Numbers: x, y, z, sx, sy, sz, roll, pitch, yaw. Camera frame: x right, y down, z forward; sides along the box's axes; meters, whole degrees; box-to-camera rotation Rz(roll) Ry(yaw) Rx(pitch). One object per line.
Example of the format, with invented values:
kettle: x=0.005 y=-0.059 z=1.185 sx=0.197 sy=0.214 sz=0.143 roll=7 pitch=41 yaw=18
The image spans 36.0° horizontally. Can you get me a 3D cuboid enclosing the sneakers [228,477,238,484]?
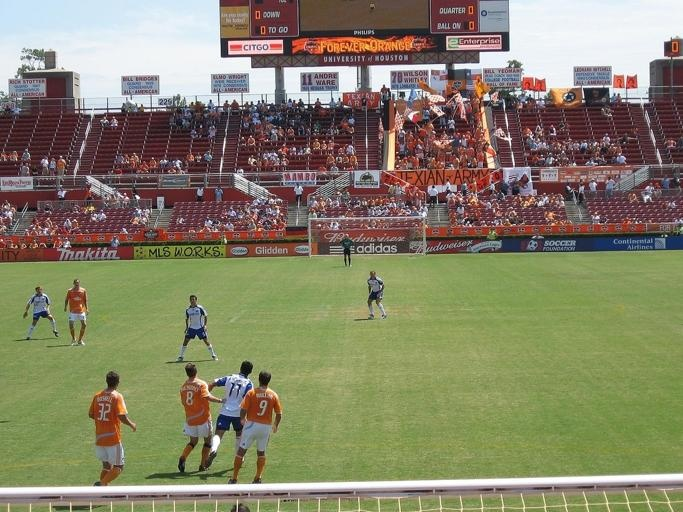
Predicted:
sneakers: x=-2.992 y=6.158 z=29.036 sx=0.199 sy=0.171 sz=0.166 roll=-8 pitch=-10 yaw=44

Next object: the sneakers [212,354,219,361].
sneakers: x=-4.521 y=3.571 z=37.665 sx=0.163 sy=0.193 sz=0.487 roll=-2 pitch=-6 yaw=-9

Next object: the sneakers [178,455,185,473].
sneakers: x=-4.494 y=5.805 z=29.609 sx=0.202 sy=0.459 sz=0.269 roll=-3 pitch=11 yaw=-9

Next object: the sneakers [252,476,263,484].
sneakers: x=-2.324 y=6.126 z=28.969 sx=0.254 sy=0.179 sz=0.479 roll=-2 pitch=12 yaw=-3
